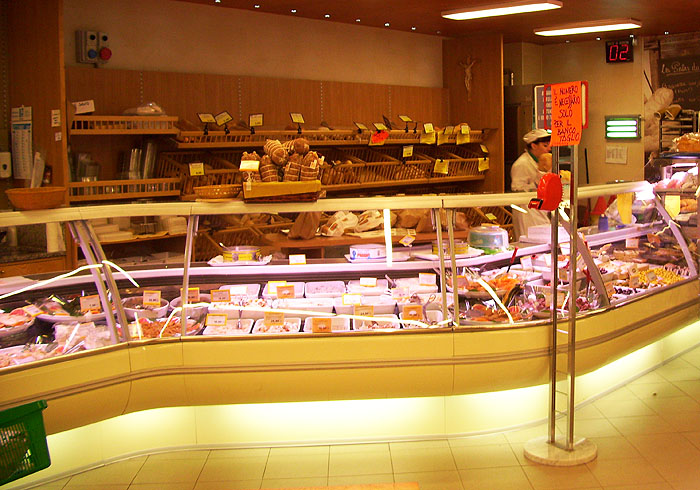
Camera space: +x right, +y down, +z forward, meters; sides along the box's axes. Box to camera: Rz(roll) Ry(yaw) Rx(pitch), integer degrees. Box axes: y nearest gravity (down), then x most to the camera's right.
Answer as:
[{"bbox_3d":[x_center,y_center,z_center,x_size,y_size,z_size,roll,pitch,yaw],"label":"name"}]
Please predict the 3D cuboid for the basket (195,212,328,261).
[{"bbox_3d":[-1.069,-0.099,5.355,1.022,0.312,0.671,-4,8,-20],"label":"basket"}]

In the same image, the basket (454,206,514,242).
[{"bbox_3d":[1.982,-0.372,7.364,0.967,0.364,0.655,6,13,7],"label":"basket"}]

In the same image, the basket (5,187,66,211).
[{"bbox_3d":[-1.749,-0.258,2.849,0.265,0.126,0.195,-10,17,-34],"label":"basket"}]

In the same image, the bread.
[{"bbox_3d":[-0.438,-0.541,3.270,0.280,0.205,0.440,-4,8,-19],"label":"bread"}]
